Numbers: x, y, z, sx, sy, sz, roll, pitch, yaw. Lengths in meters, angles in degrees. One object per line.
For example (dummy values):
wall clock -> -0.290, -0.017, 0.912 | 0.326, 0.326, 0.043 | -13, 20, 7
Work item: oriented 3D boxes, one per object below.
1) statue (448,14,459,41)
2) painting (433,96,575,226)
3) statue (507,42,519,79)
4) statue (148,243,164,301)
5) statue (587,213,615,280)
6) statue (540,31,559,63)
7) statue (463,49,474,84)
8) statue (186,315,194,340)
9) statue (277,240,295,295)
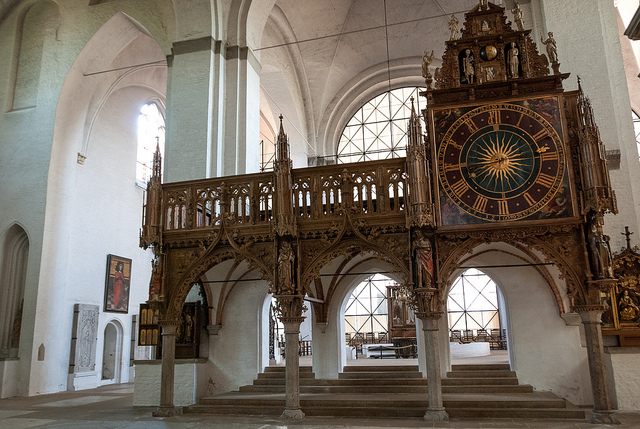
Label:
statue -> 3.825, -5.360, 15.922 | 0.270, 1.007, 0.454 | -7, -15, 14
painting -> 4.869, -1.409, 14.825 | 3.335, 3.302, 0.290 | -6, -15, 8
statue -> 5.354, -4.246, 15.305 | 0.308, 1.103, 0.147 | -9, -15, 18
statue -> -4.844, 1.691, 16.199 | 0.496, 1.668, 0.281 | -14, -18, 33
statue -> 7.144, 0.830, 14.134 | 0.500, 1.669, 0.409 | -10, -16, 23
statue -> 6.351, -4.656, 15.268 | 0.255, 1.047, 0.620 | -10, -16, 24
statue -> 4.184, -4.150, 15.479 | 0.301, 1.013, 0.185 | -8, -15, 15
statue -> -4.269, 3.722, 18.210 | 0.212, 0.755, 0.323 | 3, -16, -25
statue -> -0.960, 1.477, 15.388 | 0.483, 1.495, 0.287 | -2, -15, -5
